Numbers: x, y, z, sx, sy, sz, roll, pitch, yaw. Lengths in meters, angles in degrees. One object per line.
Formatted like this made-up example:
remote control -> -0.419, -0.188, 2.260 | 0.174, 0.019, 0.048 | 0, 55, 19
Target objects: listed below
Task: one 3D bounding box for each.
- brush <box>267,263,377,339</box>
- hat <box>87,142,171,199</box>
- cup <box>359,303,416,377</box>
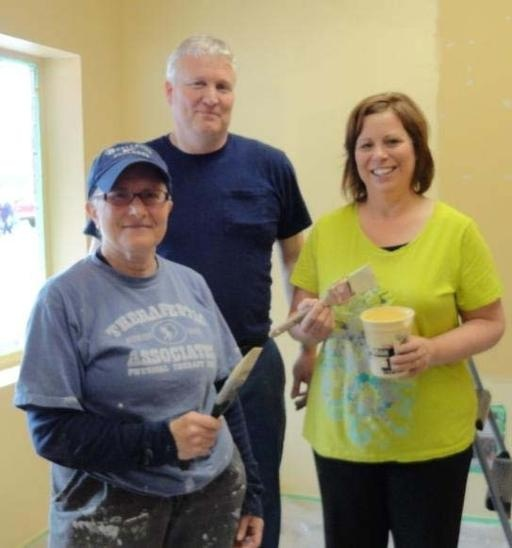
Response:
brush -> 0.174, 0.074, 1.591 | 0.357, 0.045, 0.082 | -35, 0, 35
hat -> -0.277, -0.235, 1.386 | 0.168, 0.091, 0.224 | -6, -5, -5
cup -> 0.317, 0.155, 1.584 | 0.167, 0.169, 0.163 | -2, 9, 0
